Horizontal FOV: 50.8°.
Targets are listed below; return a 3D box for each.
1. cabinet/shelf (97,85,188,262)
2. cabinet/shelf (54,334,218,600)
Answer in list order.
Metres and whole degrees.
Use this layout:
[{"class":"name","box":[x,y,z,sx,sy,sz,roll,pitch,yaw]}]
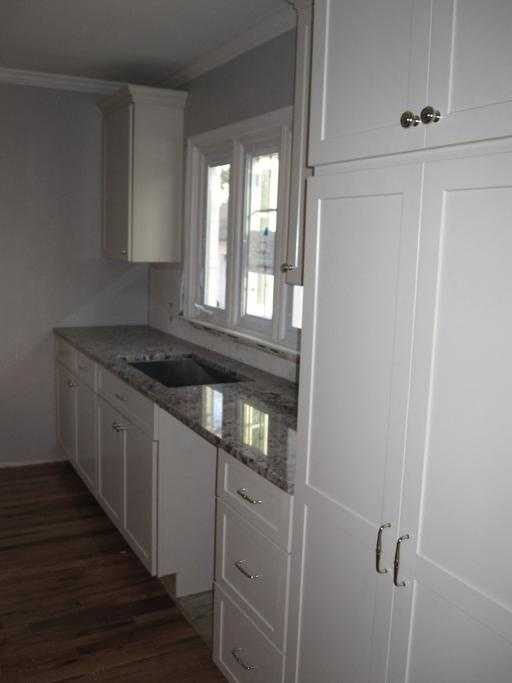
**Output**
[{"class":"cabinet/shelf","box":[-0.738,-0.977,3.240,0.699,0.981,0.358,6,7,36]},{"class":"cabinet/shelf","box":[-0.547,0.587,2.470,0.263,0.501,0.927,-1,14,-26]}]
